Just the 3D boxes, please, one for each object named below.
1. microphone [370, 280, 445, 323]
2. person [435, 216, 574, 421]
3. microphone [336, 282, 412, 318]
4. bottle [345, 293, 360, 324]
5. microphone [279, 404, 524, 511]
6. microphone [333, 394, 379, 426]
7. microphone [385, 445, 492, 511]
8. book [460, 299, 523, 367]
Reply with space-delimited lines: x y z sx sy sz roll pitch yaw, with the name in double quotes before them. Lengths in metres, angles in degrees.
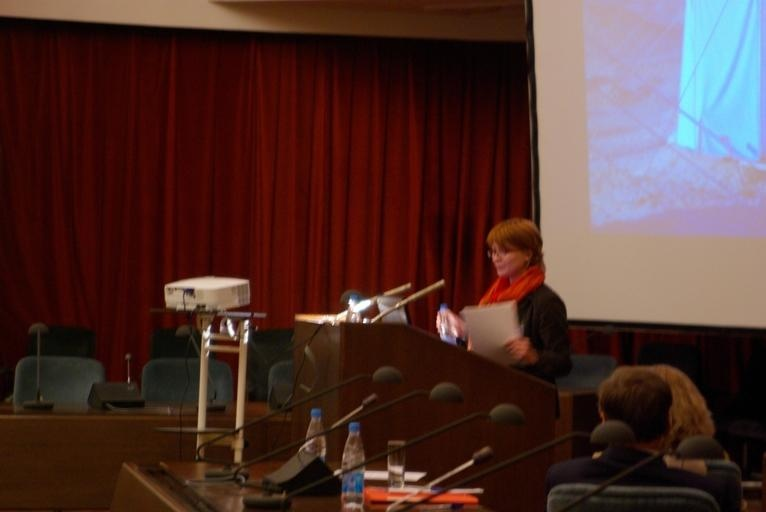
"microphone" 0.168 0.305 5.372 0.510 0.081 0.072 -37 -32 15
"person" 0.794 0.434 4.752 0.710 1.761 0.832 5 -8 -9
"microphone" -0.064 0.272 4.871 0.309 0.138 0.111 -40 -16 27
"bottle" -0.149 0.256 3.950 0.071 0.137 0.227 -2 0 -2
"microphone" 0.109 0.911 3.517 0.964 0.156 0.112 -26 28 -1
"microphone" -0.118 0.705 3.599 0.036 0.204 0.024 40 -6 44
"microphone" 0.226 0.982 3.460 0.536 0.067 0.079 -39 -56 17
"book" 0.548 0.370 3.881 0.263 0.345 0.082 -2 13 28
